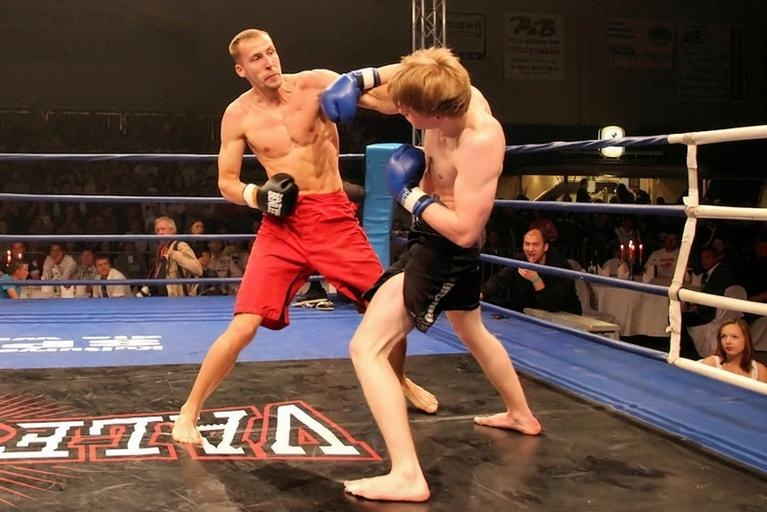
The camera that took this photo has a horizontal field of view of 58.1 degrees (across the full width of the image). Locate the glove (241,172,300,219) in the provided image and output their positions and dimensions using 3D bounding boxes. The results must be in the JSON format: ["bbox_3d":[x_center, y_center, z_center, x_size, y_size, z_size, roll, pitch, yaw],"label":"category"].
[{"bbox_3d":[-0.541,-0.314,3.703,0.422,0.170,0.312,13,13,36],"label":"glove"}]

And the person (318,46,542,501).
[{"bbox_3d":[0.146,0.039,3.361,1.011,2.018,0.761,-9,14,-41],"label":"person"}]

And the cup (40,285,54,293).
[{"bbox_3d":[-3.358,0.342,6.924,0.096,0.062,0.091,0,-5,0],"label":"cup"}]

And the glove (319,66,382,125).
[{"bbox_3d":[-0.176,-0.837,3.495,0.147,0.190,0.349,24,33,20],"label":"glove"}]

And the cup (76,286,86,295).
[{"bbox_3d":[-2.989,0.341,6.839,0.119,0.076,0.115,1,-4,0],"label":"cup"}]
